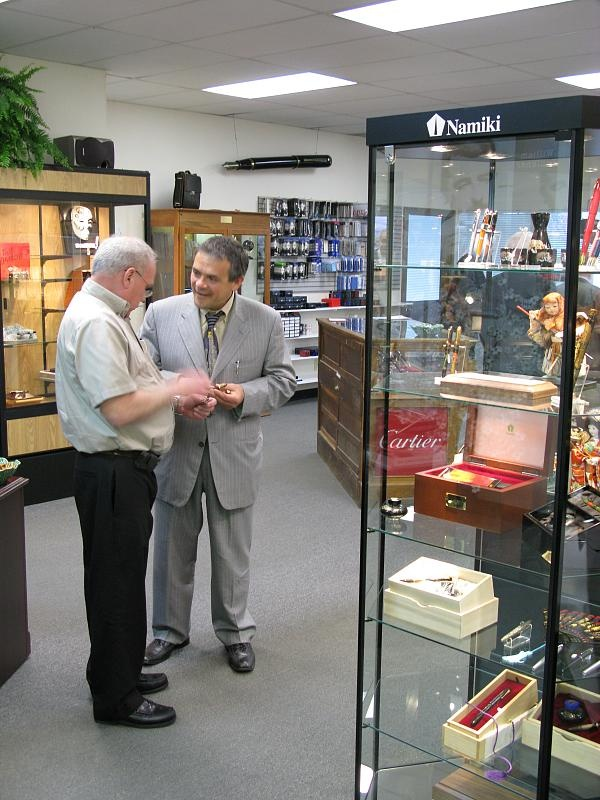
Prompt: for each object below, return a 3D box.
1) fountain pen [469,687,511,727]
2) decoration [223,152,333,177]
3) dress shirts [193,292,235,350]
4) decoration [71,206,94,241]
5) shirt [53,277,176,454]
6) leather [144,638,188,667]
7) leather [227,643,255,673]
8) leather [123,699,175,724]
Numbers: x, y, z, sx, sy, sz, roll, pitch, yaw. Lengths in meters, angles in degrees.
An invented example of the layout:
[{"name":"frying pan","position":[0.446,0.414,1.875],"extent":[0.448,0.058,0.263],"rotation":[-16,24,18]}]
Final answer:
[{"name":"fountain pen","position":[0.433,0.697,1.362],"extent":[0.021,0.031,0.132],"rotation":[-7,11,36]},{"name":"decoration","position":[-0.366,-3.155,8.039],"extent":[1.879,0.315,0.276],"rotation":[-12,-26,-24]},{"name":"dress shirts","position":[-0.344,-0.306,2.380],"extent":[0.110,0.226,0.051],"rotation":[3,1,-2]},{"name":"decoration","position":[-1.836,-1.477,4.993],"extent":[0.119,0.259,0.223],"rotation":[4,16,10]},{"name":"shirt","position":[-0.662,-0.102,2.120],"extent":[0.383,0.587,0.681],"rotation":[-1,9,-20]},{"name":"leather","position":[-0.620,1.101,2.680],"extent":[0.085,0.098,0.255],"rotation":[-7,-5,27]},{"name":"leather","position":[-0.257,1.111,2.586],"extent":[0.064,0.067,0.156],"rotation":[1,-6,-10]},{"name":"leather","position":[-0.559,1.137,2.194],"extent":[0.169,0.067,0.078],"rotation":[0,2,-2]}]
